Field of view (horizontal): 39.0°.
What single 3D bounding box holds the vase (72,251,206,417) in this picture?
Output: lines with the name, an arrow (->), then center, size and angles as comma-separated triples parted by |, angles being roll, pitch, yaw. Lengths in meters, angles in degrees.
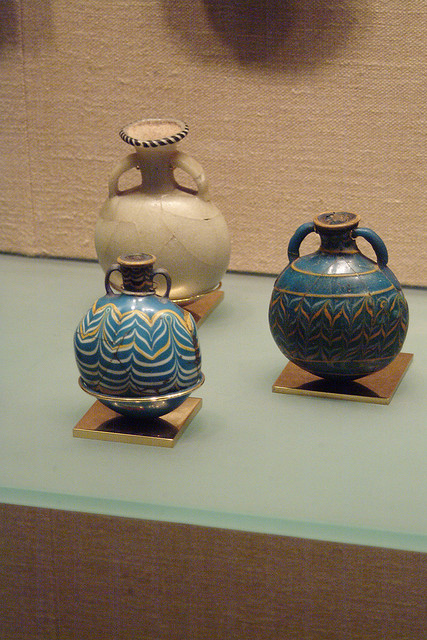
vase -> -0.123, 0.046, 1.041 | 0.226, 0.312, 0.161 | 1, 12, -11

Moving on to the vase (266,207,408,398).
vase -> 0.255, -0.039, 1.254 | 0.303, 0.323, 0.268 | 2, 14, 21
